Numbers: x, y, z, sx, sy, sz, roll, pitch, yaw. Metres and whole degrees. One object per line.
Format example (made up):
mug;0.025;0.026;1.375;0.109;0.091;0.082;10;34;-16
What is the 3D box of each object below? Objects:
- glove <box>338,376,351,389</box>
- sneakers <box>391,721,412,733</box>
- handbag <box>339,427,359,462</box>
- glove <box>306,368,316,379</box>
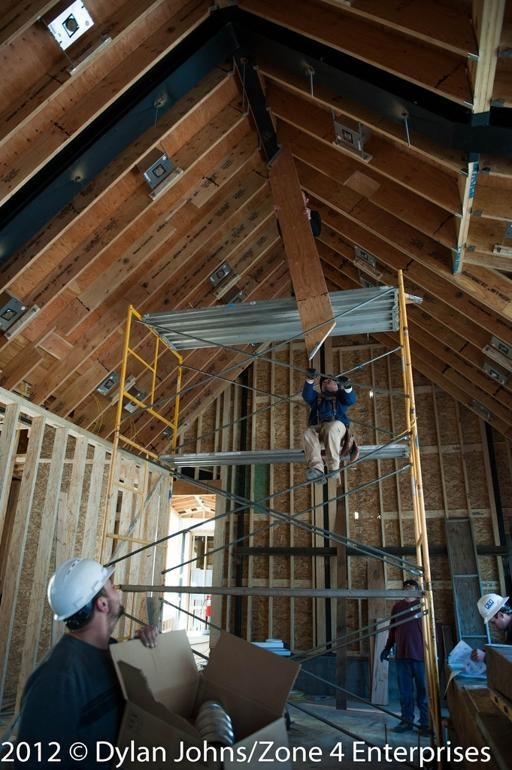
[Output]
glove;0.646;-0.018;4.225;0.070;0.103;0.052;-10;-4;-14
sneakers;1.138;2.665;4.495;0.148;0.069;0.269;-4;-24;15
handbag;0.678;0.463;4.216;0.133;0.284;0.290;-1;-24;9
glove;0.379;-0.086;4.122;0.087;0.069;0.104;-2;-11;19
